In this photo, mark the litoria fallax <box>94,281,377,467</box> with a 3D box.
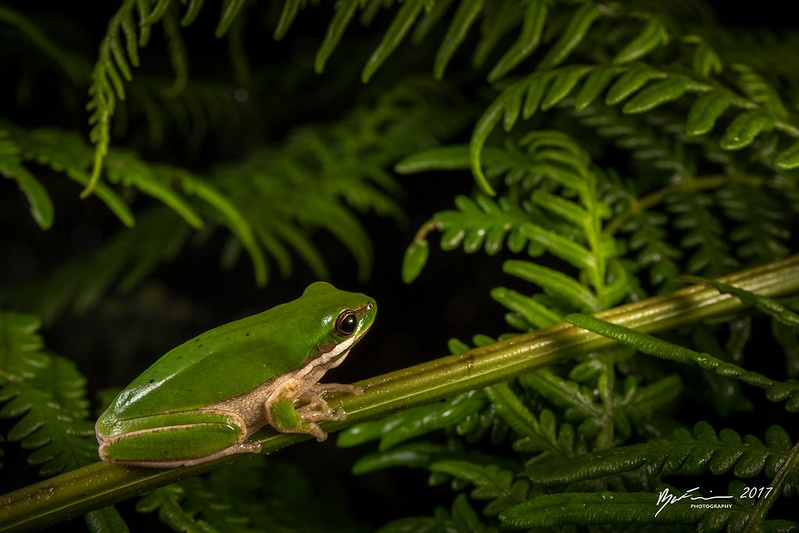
[{"bbox_3d":[-0.794,0.581,4.539,1.061,0.432,0.765,-18,45,-15],"label":"litoria fallax"}]
